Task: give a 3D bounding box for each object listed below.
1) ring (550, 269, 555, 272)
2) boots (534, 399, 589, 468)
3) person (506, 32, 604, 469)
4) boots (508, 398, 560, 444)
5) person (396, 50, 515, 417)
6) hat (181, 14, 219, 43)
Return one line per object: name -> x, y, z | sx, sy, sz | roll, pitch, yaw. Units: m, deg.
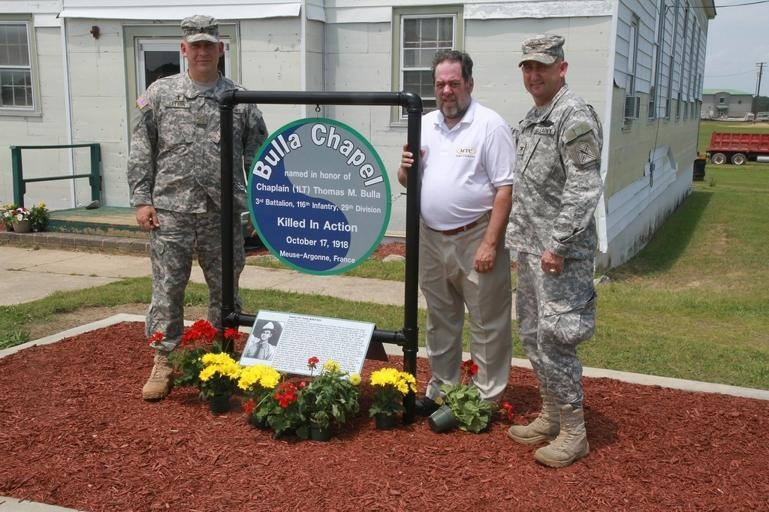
ring -> 1.211, 0.103, 4.959 | 0.038, 0.031, 0.011 | 4, 15, 11
boots -> 1.316, 1.316, 5.123 | 0.482, 0.434, 0.203 | -6, 4, -36
person -> 1.257, -0.037, 5.077 | 0.570, 3.028, 0.850 | -4, 15, -19
boots -> 1.173, 1.259, 5.306 | 0.459, 0.298, 0.172 | 2, 4, -13
person -> 0.645, -0.164, 5.523 | 0.848, 2.826, 0.525 | 5, 15, 13
hat -> -1.524, -1.858, 5.698 | 0.281, 0.224, 0.201 | -1, 14, -9
